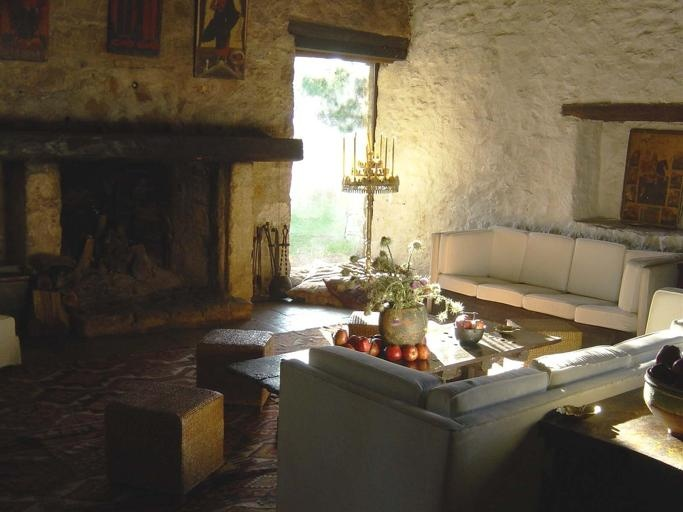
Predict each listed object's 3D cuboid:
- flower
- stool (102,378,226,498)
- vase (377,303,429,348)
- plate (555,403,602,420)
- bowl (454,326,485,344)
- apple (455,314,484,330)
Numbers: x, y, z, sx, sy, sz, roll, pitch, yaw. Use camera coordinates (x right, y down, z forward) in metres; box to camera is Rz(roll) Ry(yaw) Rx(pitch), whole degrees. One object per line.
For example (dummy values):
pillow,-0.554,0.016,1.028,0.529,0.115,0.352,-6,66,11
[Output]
flower,0.364,0.213,4.177,1.047,0.564,1.065,14,0,-14
stool,-1.032,1.057,3.207,0.526,0.454,0.531,3,3,17
vase,0.434,0.462,3.709,0.270,0.221,0.269,-1,0,-1
plate,1.048,0.678,2.375,0.108,0.028,0.108,1,11,14
bowl,0.970,0.572,4.047,0.146,0.081,0.147,1,5,0
apple,0.988,0.496,4.059,0.136,0.056,0.136,0,4,-26
